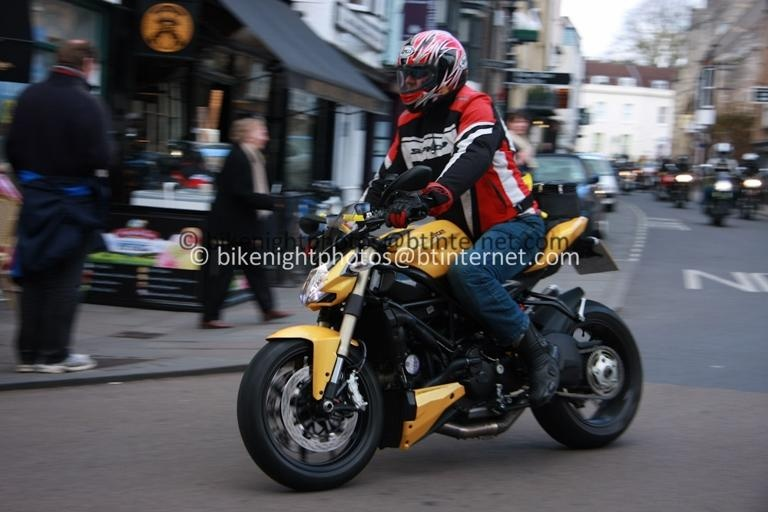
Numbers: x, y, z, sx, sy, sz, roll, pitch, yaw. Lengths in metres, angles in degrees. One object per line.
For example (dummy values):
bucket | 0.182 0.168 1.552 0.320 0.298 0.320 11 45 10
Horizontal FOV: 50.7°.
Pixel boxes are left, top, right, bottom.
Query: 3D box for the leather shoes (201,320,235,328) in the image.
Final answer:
leather shoes | -1.895 0.767 9.169 0.355 0.100 0.110 1 4 -11

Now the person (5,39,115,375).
person | -2.868 -0.436 7.134 0.835 2.902 0.736 -1 14 -21

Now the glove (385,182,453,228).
glove | 0.267 -0.339 5.250 0.280 0.187 0.463 19 30 41
